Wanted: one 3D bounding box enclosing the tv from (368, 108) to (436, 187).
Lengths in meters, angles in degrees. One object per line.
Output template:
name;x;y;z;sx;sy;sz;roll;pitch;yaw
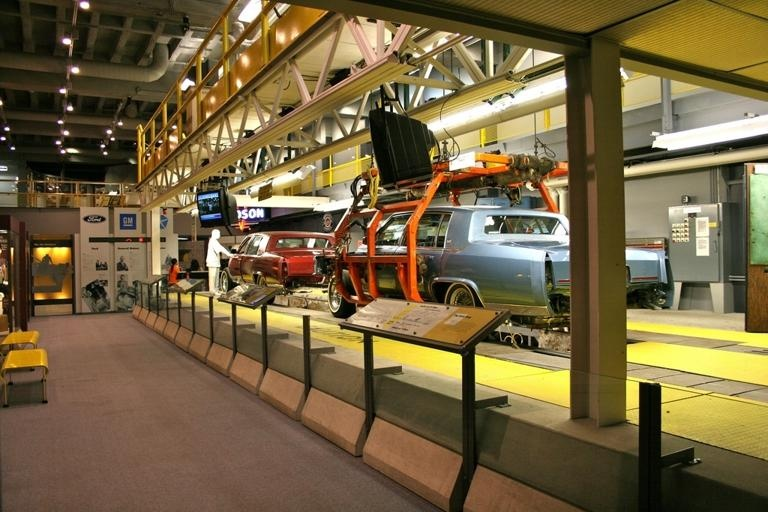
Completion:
tv;0.264;-1.554;7.597;1.044;1.021;0.350;-9;6;-35

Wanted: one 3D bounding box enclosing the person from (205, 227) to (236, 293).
person;-5.155;0.247;16.342;0.769;1.753;0.777;-11;-10;34
